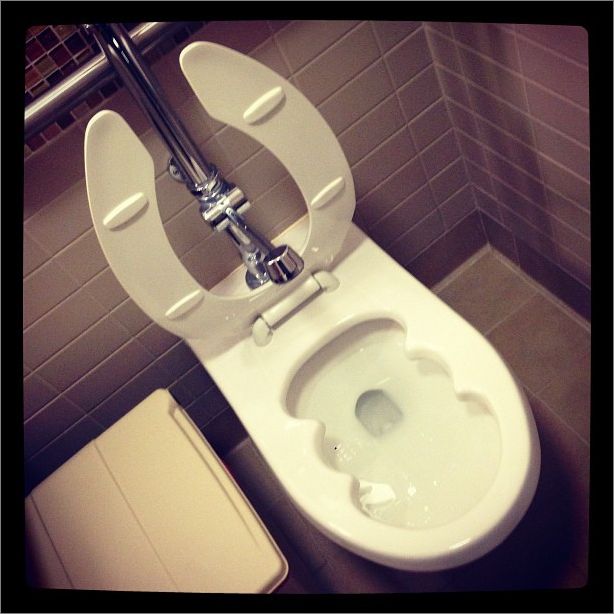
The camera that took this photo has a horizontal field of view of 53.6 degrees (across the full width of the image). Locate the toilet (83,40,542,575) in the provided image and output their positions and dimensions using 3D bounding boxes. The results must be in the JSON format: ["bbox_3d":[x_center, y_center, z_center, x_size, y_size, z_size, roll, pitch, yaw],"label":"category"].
[{"bbox_3d":[0.006,-0.006,0.804,0.377,0.692,0.510,-38,33,-14],"label":"toilet"}]
